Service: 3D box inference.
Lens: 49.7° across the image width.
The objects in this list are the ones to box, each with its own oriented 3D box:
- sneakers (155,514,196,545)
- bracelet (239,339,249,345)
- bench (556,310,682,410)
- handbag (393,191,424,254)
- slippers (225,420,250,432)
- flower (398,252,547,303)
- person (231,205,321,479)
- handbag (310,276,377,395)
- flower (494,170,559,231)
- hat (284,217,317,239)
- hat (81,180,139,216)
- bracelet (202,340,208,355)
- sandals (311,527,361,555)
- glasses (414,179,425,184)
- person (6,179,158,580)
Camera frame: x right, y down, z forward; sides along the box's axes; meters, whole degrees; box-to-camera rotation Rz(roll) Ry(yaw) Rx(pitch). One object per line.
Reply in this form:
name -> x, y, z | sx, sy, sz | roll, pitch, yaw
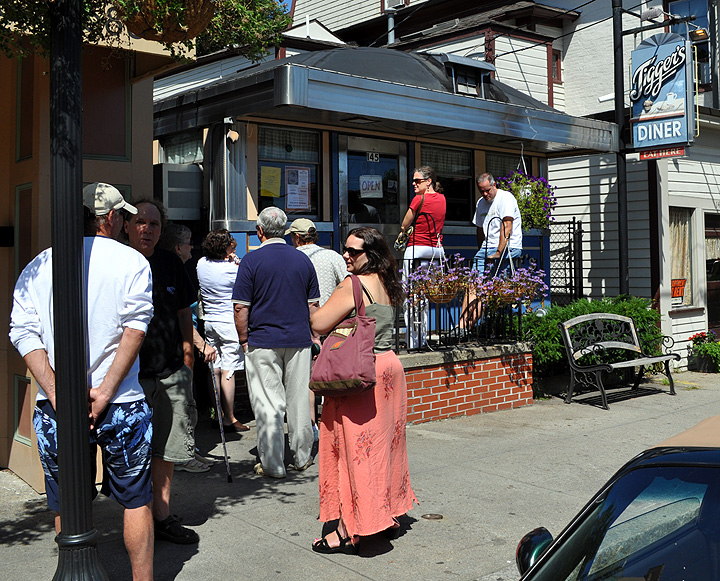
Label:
sneakers -> -1.294, 1.697, 5.487 | 0.343, 0.166, 0.142 | 5, 4, 24
bracelet -> -1.043, 0.458, 6.954 | 0.050, 0.055, 0.055 | 1, -8, -2
bench -> 3.622, 0.958, 10.842 | 1.720, 1.242, 0.912 | -2, 0, -36
handbag -> 0.612, -0.803, 9.722 | 0.164, 0.588, 0.342 | 21, 8, 31
slippers -> -1.346, 1.484, 8.516 | 0.101, 0.085, 0.258 | 2, -7, -39
flower -> 1.316, -0.090, 9.347 | 1.195, 0.410, 0.838 | 0, 4, -25
person -> -0.755, 0.605, 6.936 | 0.758, 2.096, 0.412 | 0, 3, -9
handbag -> -0.121, 0.307, 5.290 | 0.430, 0.797, 0.352 | 0, 3, -3
flower -> 2.821, -1.537, 13.316 | 0.943, 0.711, 1.007 | -5, 33, -11
hat -> -0.602, -0.580, 7.681 | 0.206, 0.171, 0.277 | -9, 24, -36
hat -> -1.486, -0.549, 4.629 | 0.178, 0.153, 0.280 | 18, 21, 42
bracelet -> -1.279, 0.477, 6.447 | 0.028, 0.086, 0.057 | 6, 0, -17
sandals -> -0.164, 1.726, 5.410 | 0.292, 0.141, 0.162 | 6, -5, -7
glasses -> 0.694, -1.339, 9.513 | 0.083, 0.075, 0.188 | -2, 5, -29
person -> -1.556, 0.535, 4.423 | 0.740, 2.300, 0.536 | -1, 4, -24
